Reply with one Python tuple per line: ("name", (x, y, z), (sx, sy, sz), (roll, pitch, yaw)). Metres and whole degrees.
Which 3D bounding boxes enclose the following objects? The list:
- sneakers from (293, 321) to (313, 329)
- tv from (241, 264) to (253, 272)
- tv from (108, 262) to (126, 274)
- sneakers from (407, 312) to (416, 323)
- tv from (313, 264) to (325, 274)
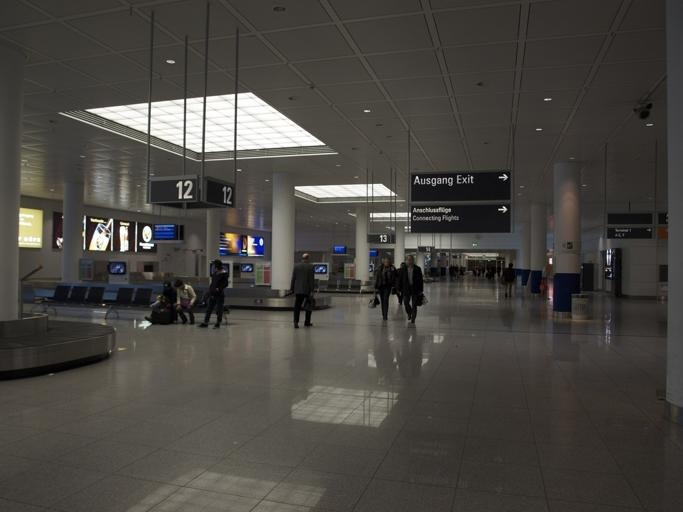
("sneakers", (-1.013, 1.800, 13.716), (0.516, 0.212, 0.161), (-1, -2, -4))
("tv", (-4.815, 0.566, 26.487), (0.682, 0.475, 0.374), (1, 2, 14))
("tv", (-11.346, 0.605, 26.433), (0.574, 0.577, 1.133), (1, 2, 37))
("sneakers", (2.002, 1.788, 15.031), (0.130, 0.288, 0.406), (2, -24, -3))
("tv", (-1.277, 0.751, 31.679), (0.424, 0.592, 1.029), (-1, 2, -42))
